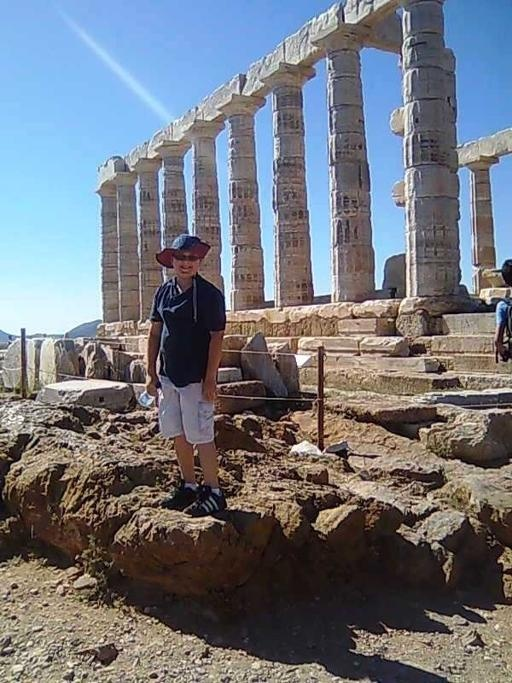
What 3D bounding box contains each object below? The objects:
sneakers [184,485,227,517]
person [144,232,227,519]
[{"bbox_3d":[-0.283,0.885,3.231,0.093,0.138,0.293,-8,-16,28],"label":"sneakers"},{"bbox_3d":[-0.356,0.162,3.341,0.443,1.490,0.791,3,13,-18],"label":"person"}]
